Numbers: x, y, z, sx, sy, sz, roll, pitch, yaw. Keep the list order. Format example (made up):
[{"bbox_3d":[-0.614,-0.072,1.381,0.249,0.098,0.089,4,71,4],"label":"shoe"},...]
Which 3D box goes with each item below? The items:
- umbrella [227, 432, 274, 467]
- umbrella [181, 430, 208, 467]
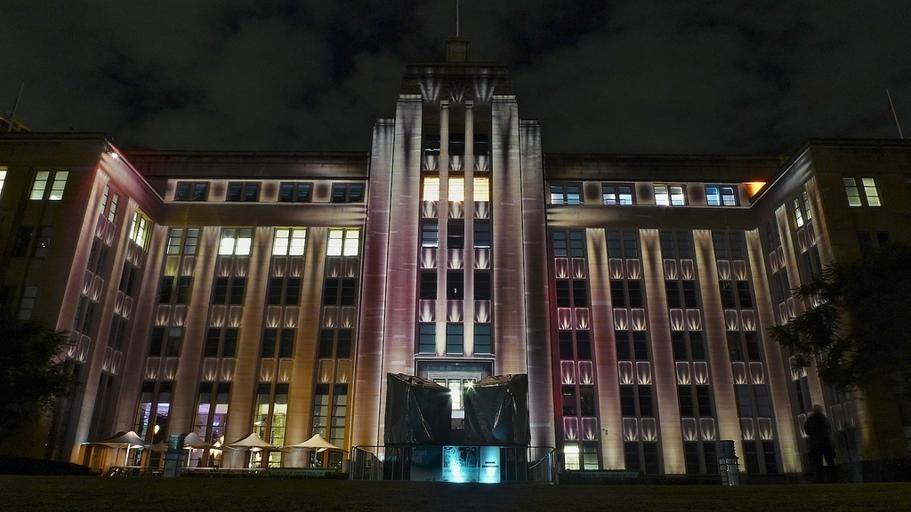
[{"bbox_3d":[-19.731,18.743,64.268,4.116,1.842,3.619,-10,-26,23],"label":"umbrella"},{"bbox_3d":[-26.638,19.807,66.814,2.260,3.589,5.264,9,-22,-19],"label":"umbrella"}]
